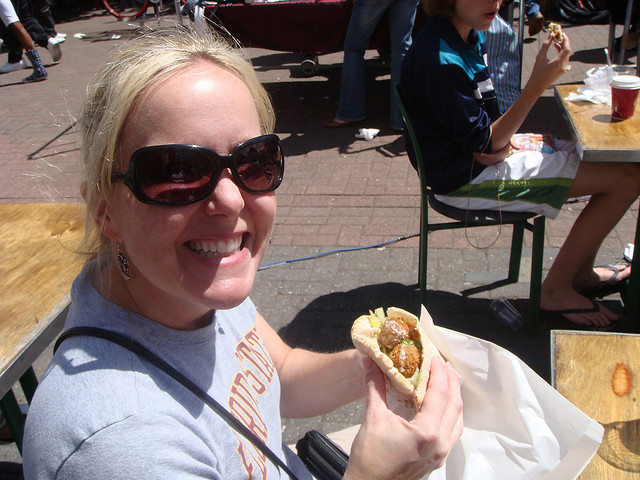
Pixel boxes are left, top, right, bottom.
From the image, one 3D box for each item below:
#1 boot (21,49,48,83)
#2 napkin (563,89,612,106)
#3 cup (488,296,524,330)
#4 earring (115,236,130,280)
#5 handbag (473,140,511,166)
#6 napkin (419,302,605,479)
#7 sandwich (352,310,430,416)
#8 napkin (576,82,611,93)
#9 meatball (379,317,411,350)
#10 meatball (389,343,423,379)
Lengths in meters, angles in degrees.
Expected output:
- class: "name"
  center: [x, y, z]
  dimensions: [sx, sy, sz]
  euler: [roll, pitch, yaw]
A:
- class: "boot"
  center: [-5.165, -3.122, 9.456]
  dimensions: [0.443, 0.533, 0.345]
  euler: [-2, 44, 4]
- class: "napkin"
  center: [1.755, -0.924, 3.405]
  dimensions: [0.167, 0.051, 0.194]
  euler: [1, 31, 3]
- class: "cup"
  center: [1.252, 0.486, 3.565]
  dimensions: [0.129, 0.083, 0.213]
  euler: [-42, 48, -1]
- class: "earring"
  center: [-0.590, 0.048, 1.588]
  dimensions: [0.023, 0.159, 0.063]
  euler: [-18, 34, -21]
- class: "handbag"
  center: [1.058, -0.506, 3.240]
  dimensions: [0.189, 0.072, 0.140]
  euler: [-36, 11, -25]
- class: "napkin"
  center: [0.562, 0.604, 1.823]
  dimensions: [0.360, 0.425, 0.664]
  euler: [-31, 51, -24]
- class: "sandwich"
  center: [0.264, 0.444, 1.972]
  dimensions: [0.120, 0.329, 0.332]
  euler: [-2, 43, -19]
- class: "napkin"
  center: [1.808, -1.007, 3.495]
  dimensions: [0.124, 0.036, 0.086]
  euler: [11, 7, 41]
- class: "meatball"
  center: [0.283, 0.366, 2.000]
  dimensions: [0.089, 0.064, 0.112]
  euler: [-28, 40, -13]
- class: "meatball"
  center: [0.325, 0.425, 1.943]
  dimensions: [0.112, 0.060, 0.140]
  euler: [32, 57, 31]
